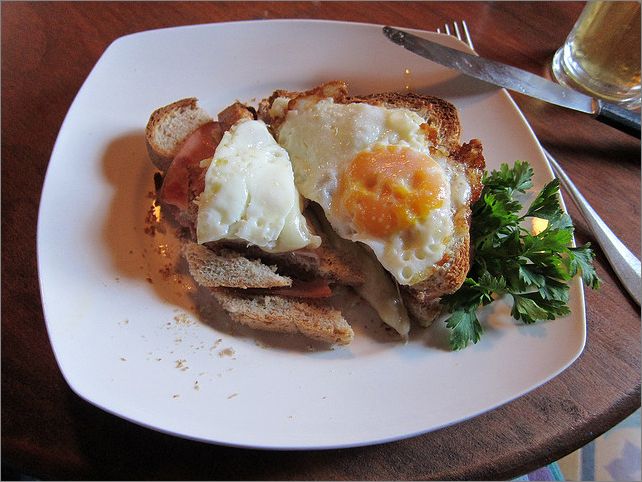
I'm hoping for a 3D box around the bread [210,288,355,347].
[{"bbox_3d":[-0.194,0.387,3.038,0.647,0.170,0.331,21,17,-14],"label":"bread"}]
